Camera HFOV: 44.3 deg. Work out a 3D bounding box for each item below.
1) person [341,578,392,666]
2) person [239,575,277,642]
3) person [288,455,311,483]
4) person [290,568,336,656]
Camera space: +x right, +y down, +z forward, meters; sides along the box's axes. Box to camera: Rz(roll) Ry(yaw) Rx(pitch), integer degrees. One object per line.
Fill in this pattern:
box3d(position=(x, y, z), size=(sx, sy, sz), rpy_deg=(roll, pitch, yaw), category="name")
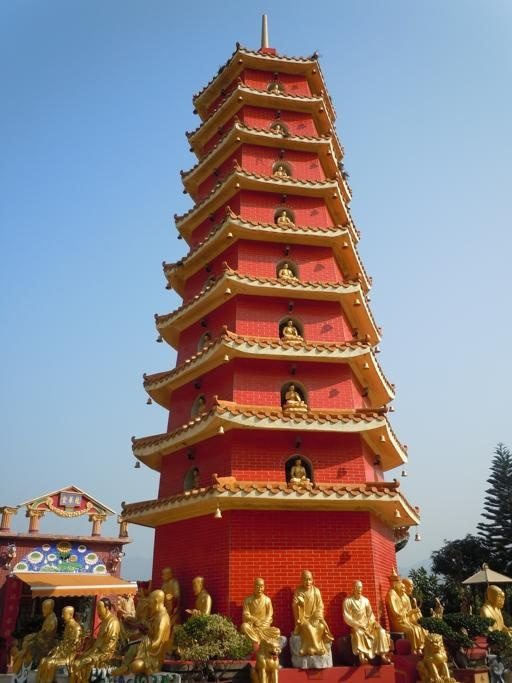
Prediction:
box3d(position=(2.198, 5.622, 12.665), size=(0.897, 1.540, 0.335), rpy_deg=(12, -36, -17), category="person")
box3d(position=(0.018, 5.316, 12.463), size=(0.921, 1.336, 0.708), rpy_deg=(2, -56, -1), category="person")
box3d(position=(1.001, 2.971, 14.474), size=(0.575, 0.800, 0.638), rpy_deg=(0, -32, 1), category="person")
box3d(position=(1.089, 5.316, 12.382), size=(0.723, 1.553, 0.314), rpy_deg=(0, -34, 1), category="person")
